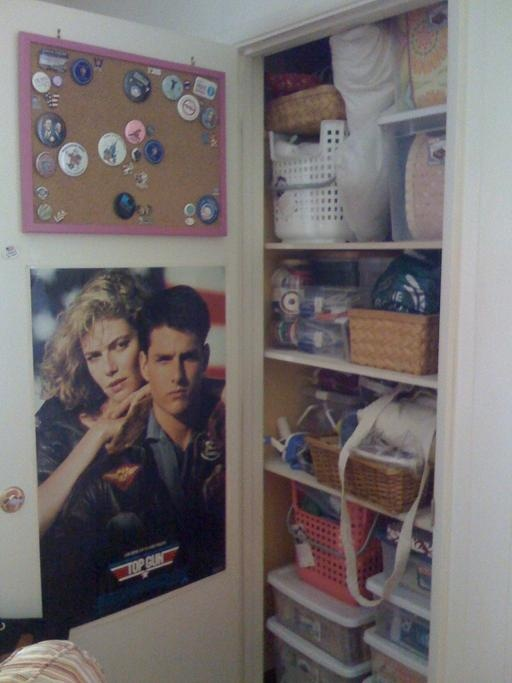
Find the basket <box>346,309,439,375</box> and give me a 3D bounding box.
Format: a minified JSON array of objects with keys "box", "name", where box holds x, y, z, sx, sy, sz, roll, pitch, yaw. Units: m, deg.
[{"box":[0.291,-0.005,1.357,0.119,0.150,0.221,-6,11,-34],"name":"basket"}]
